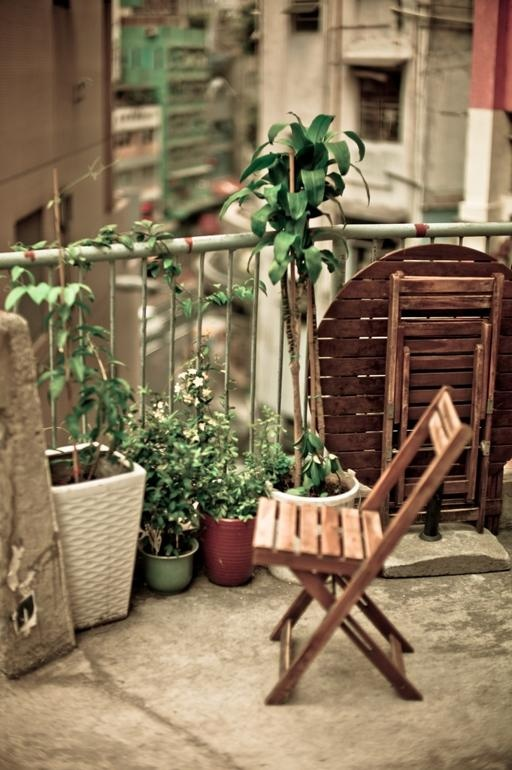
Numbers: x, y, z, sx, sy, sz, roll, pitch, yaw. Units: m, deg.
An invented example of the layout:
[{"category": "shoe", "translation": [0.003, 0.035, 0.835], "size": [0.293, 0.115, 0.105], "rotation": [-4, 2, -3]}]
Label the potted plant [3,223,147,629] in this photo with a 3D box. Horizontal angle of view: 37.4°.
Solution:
[{"category": "potted plant", "translation": [-0.916, -0.043, 3.879], "size": [0.692, 1.435, 2.918], "rotation": [-1, 11, -8]}]

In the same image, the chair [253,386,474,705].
[{"category": "chair", "translation": [0.274, 0.499, 2.293], "size": [0.548, 0.994, 0.716], "rotation": [2, 11, 5]}]

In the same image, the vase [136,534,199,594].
[{"category": "vase", "translation": [-0.332, 0.764, 3.064], "size": [0.216, 0.154, 0.221], "rotation": [2, -4, -41]}]

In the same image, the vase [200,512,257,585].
[{"category": "vase", "translation": [-0.083, 0.664, 3.121], "size": [0.288, 0.289, 0.276], "rotation": [2, 6, 12]}]
